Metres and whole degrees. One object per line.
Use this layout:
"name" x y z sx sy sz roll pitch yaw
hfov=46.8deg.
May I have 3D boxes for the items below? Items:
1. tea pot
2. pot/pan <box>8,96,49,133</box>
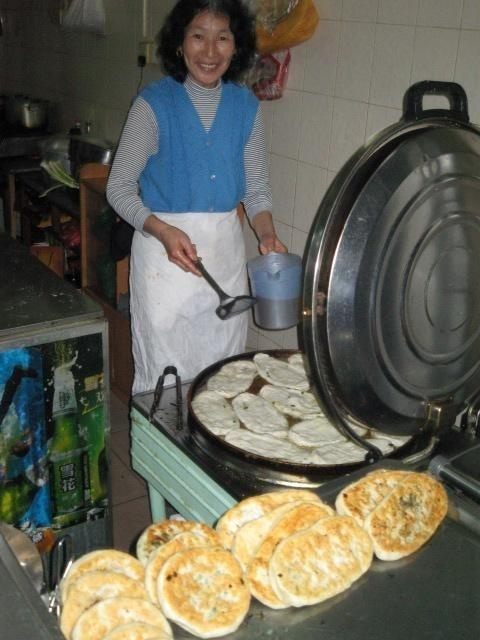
"tea pot" 0.147 -0.098 1.713 0.190 0.205 0.231 -1 32 8
"pot/pan" -1.887 -1.826 4.921 0.249 0.331 0.433 -8 18 -37
